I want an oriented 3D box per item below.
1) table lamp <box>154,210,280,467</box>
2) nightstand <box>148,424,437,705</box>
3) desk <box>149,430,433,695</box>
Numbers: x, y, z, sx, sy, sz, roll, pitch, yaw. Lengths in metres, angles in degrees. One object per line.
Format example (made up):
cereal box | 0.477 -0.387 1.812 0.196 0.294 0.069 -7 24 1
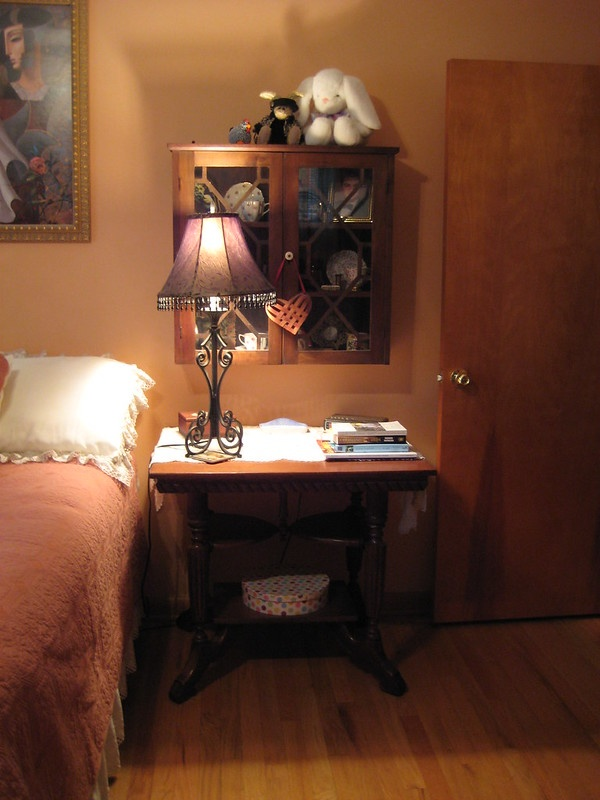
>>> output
table lamp | -0.232 -0.191 2.021 0.317 0.688 0.431 -1 7 -2
nightstand | -0.037 0.305 2.199 0.908 0.773 0.715 0 7 -1
desk | -0.051 0.483 2.180 0.790 0.670 0.636 1 6 -2
